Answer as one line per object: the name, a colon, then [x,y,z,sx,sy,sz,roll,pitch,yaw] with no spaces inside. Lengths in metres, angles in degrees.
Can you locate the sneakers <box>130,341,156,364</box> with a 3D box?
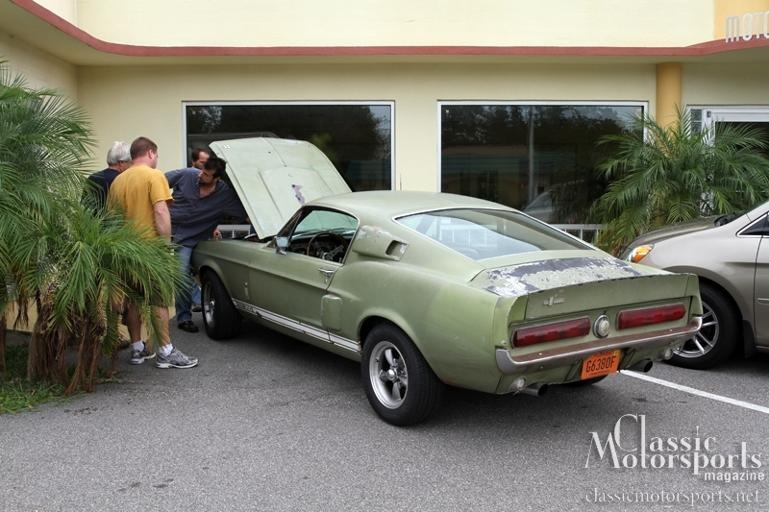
sneakers: [-2.824,1.131,6.376,0.173,0.241,0.462,2,3,17]

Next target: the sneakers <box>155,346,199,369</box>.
sneakers: [-2.387,1.169,6.206,0.419,0.208,0.226,1,0,-11]

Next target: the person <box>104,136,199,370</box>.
person: [-2.649,-0.015,6.118,0.764,2.625,1.321,-6,13,-27]

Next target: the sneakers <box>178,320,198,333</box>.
sneakers: [-2.731,0.984,7.505,0.322,0.139,0.125,1,1,33]
